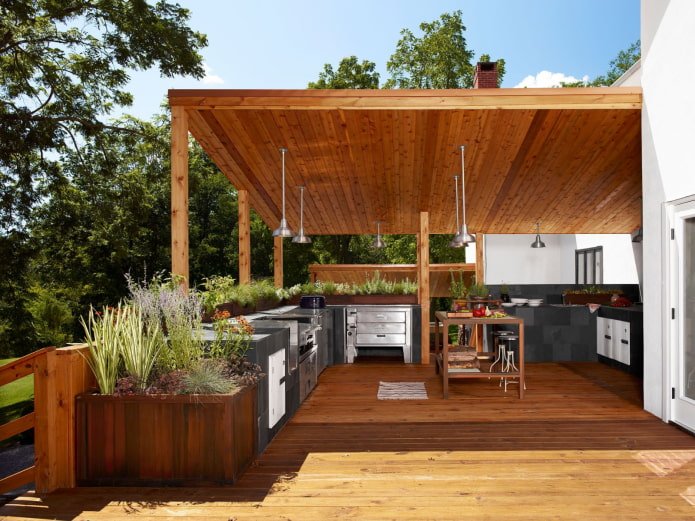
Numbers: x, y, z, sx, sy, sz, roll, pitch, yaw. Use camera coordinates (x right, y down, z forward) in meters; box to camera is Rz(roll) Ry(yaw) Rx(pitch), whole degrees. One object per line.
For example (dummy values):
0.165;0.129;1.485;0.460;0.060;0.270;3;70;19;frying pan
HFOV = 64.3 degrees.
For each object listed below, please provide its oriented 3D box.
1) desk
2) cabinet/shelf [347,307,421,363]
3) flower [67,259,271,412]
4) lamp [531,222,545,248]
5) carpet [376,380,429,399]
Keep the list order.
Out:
2.127;1.551;9.082;1.095;1.035;2.154;-1;0;3;desk
0.716;1.273;11.063;1.628;1.178;1.018;0;-3;3;cabinet/shelf
-1.667;0.720;5.682;1.330;1.049;1.529;0;-4;15;flower
4.767;-0.658;13.872;0.323;0.650;0.330;7;-17;-1;lamp
0.817;1.940;8.269;0.722;0.058;1.043;0;4;5;carpet
